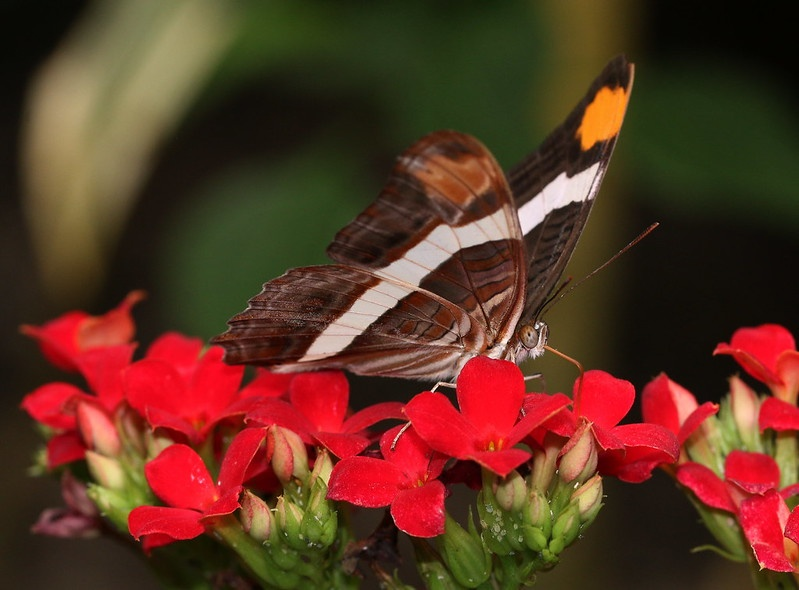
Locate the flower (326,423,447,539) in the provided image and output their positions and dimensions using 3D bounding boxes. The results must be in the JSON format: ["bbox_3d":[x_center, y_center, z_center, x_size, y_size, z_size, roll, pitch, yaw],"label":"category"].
[{"bbox_3d":[-0.006,0.482,2.158,0.333,0.206,0.232,20,8,4],"label":"flower"}]

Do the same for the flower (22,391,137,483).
[{"bbox_3d":[-0.947,0.408,2.388,0.263,0.320,0.174,5,-2,2],"label":"flower"}]
